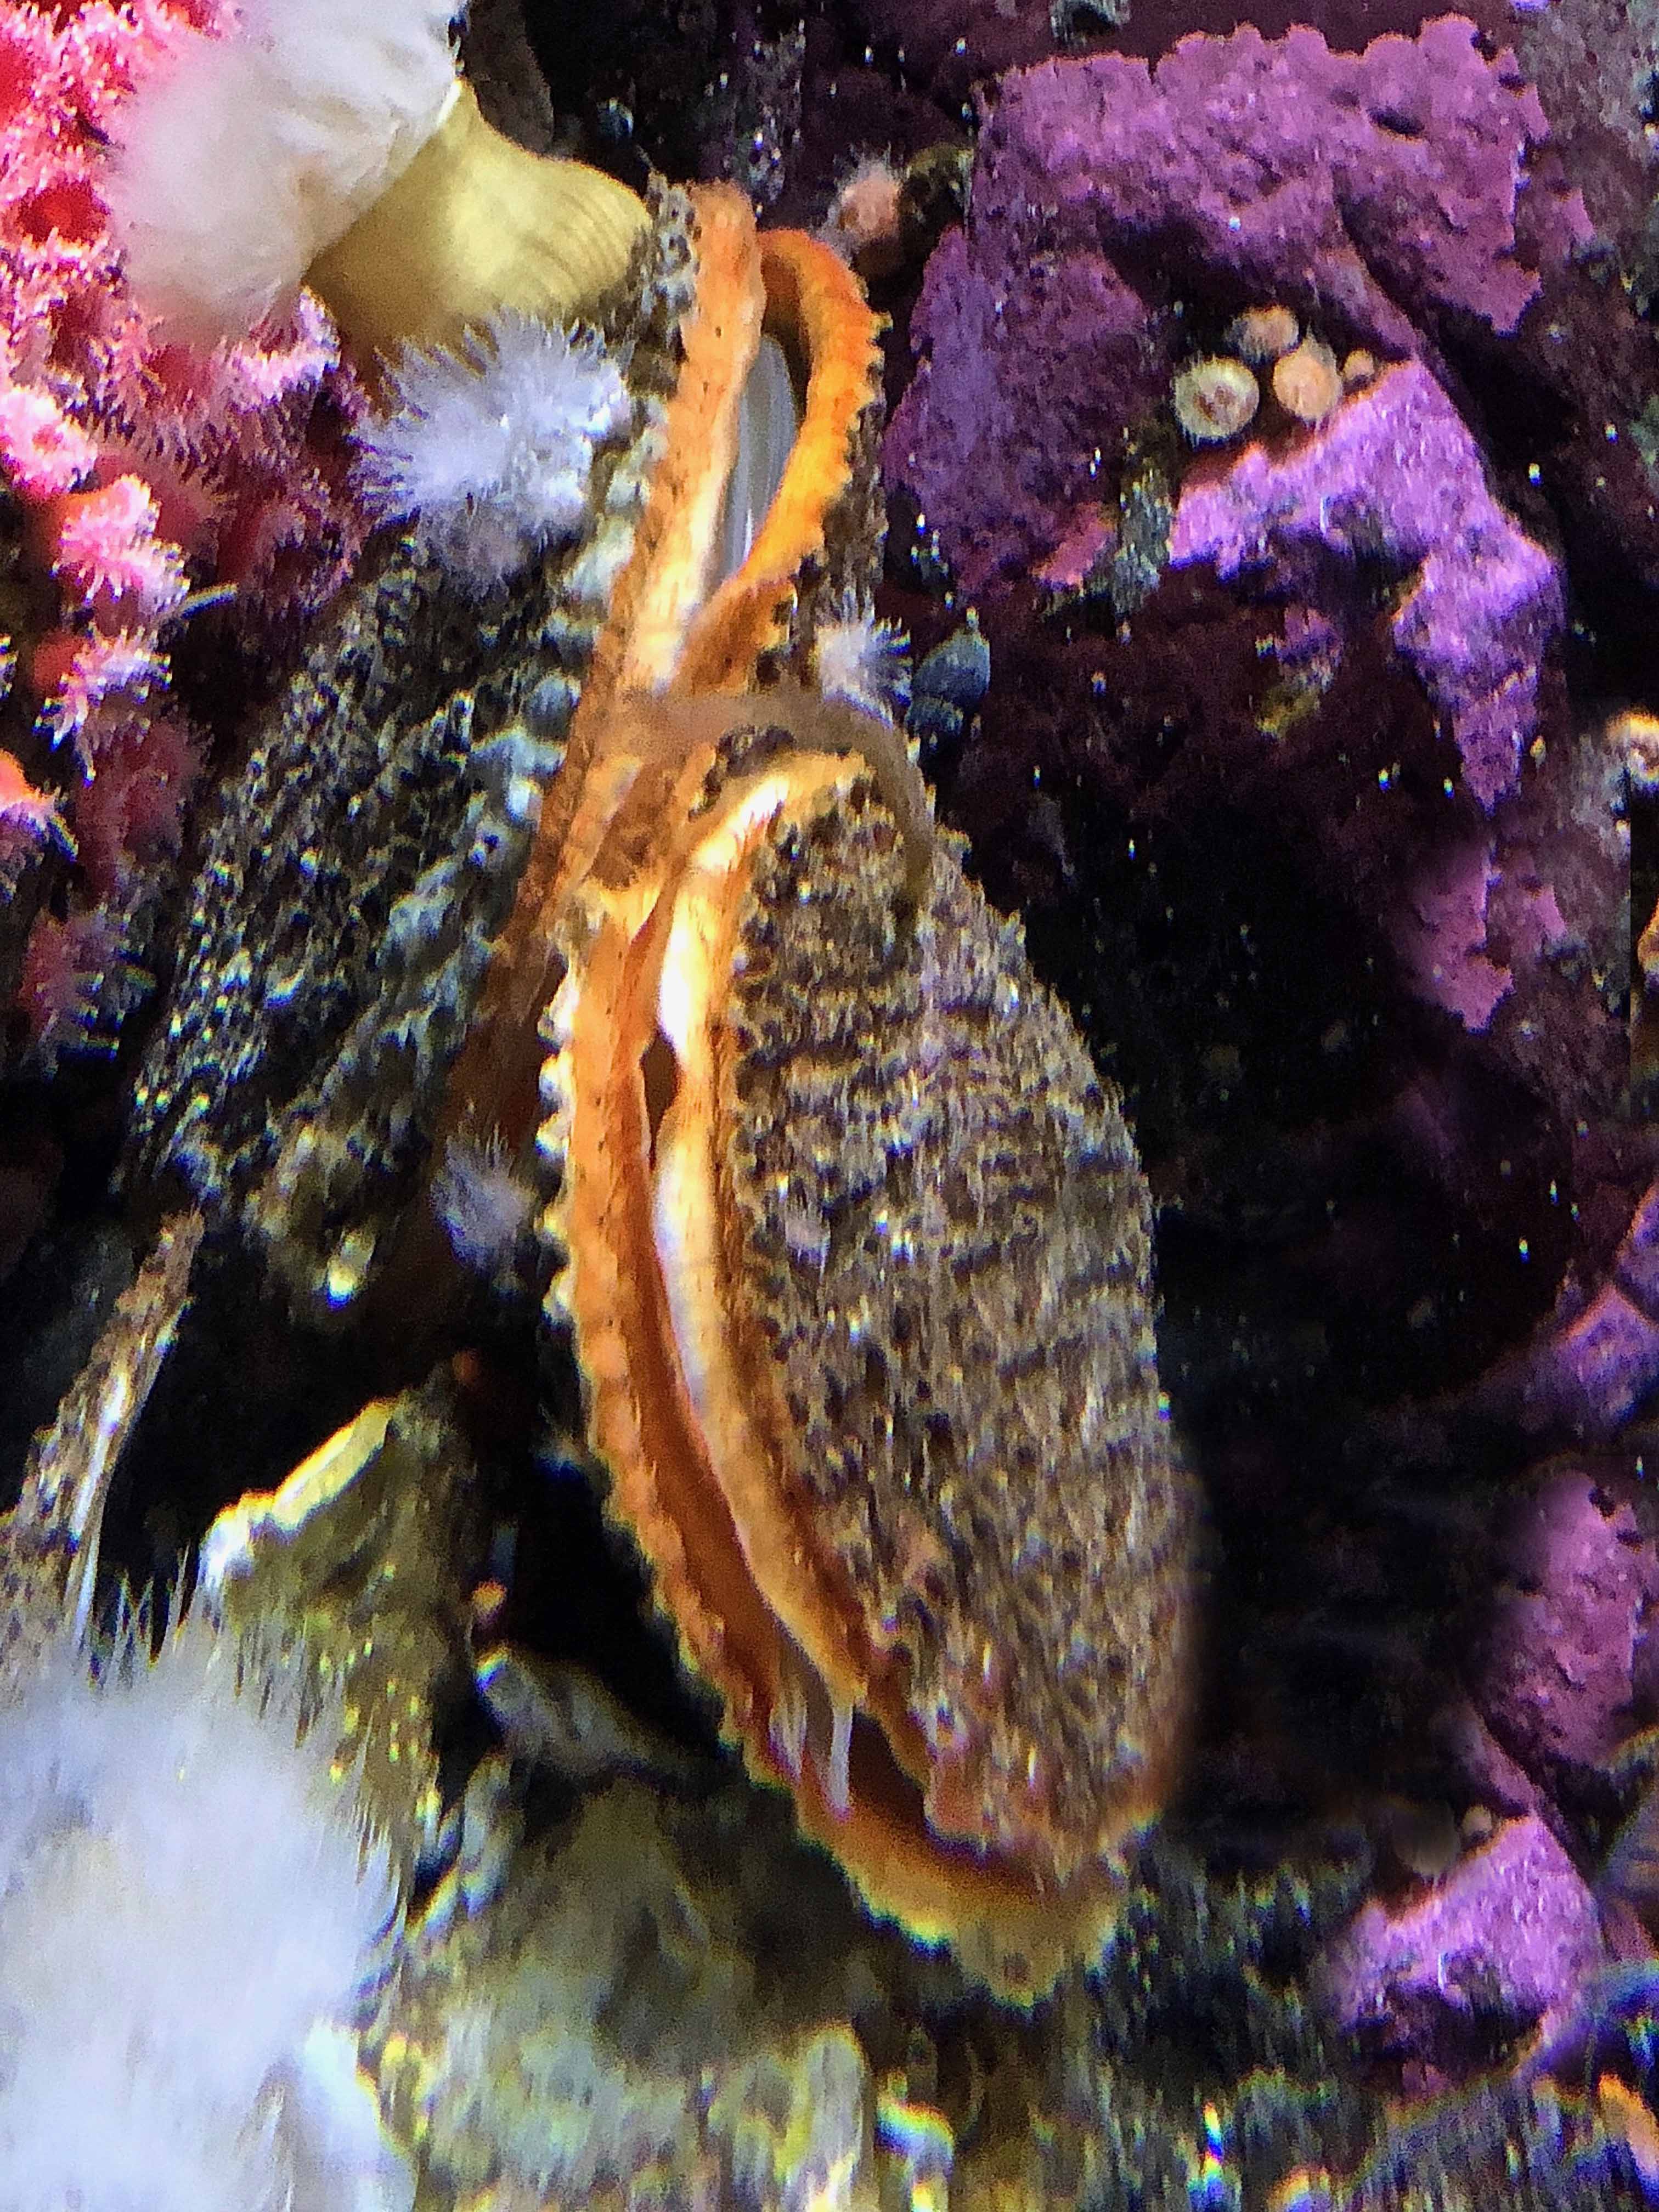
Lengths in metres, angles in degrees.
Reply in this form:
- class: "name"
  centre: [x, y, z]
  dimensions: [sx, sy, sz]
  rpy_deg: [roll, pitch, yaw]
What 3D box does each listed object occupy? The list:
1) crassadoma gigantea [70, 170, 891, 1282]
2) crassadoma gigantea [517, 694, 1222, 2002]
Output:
- class: "crassadoma gigantea"
  centre: [-0.142, -0.141, 1.056]
  dimensions: [0.312, 0.452, 0.087]
  rpy_deg: [10, -12, 37]
- class: "crassadoma gigantea"
  centre: [0.001, 0.105, 1.228]
  dimensions: [0.231, 0.401, 0.737]
  rpy_deg: [-42, 26, 26]
